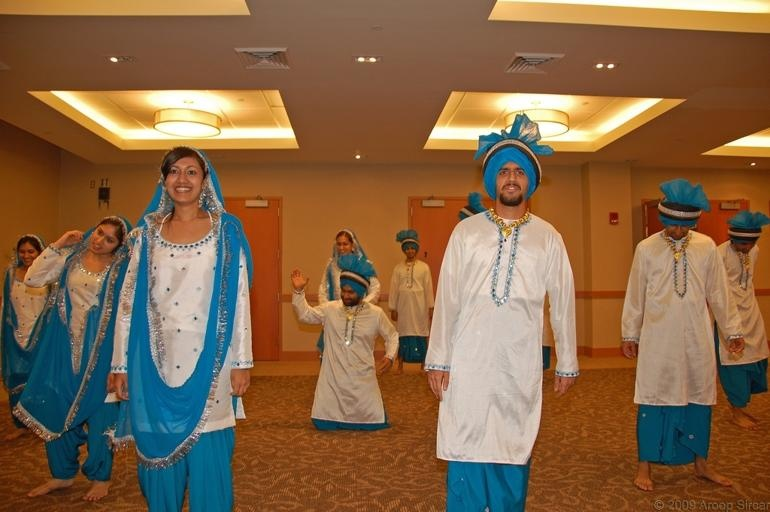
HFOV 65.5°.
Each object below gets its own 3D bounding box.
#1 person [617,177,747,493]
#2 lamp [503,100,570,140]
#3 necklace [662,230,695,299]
[{"bbox_3d":[2.757,0.727,5.730,0.883,2.915,0.317,2,-3,-7],"label":"person"},{"bbox_3d":[2.406,-2.252,9.474,0.891,0.434,0.913,-2,-3,28],"label":"lamp"},{"bbox_3d":[2.802,0.109,5.692,0.202,0.647,0.100,0,-4,22],"label":"necklace"}]
